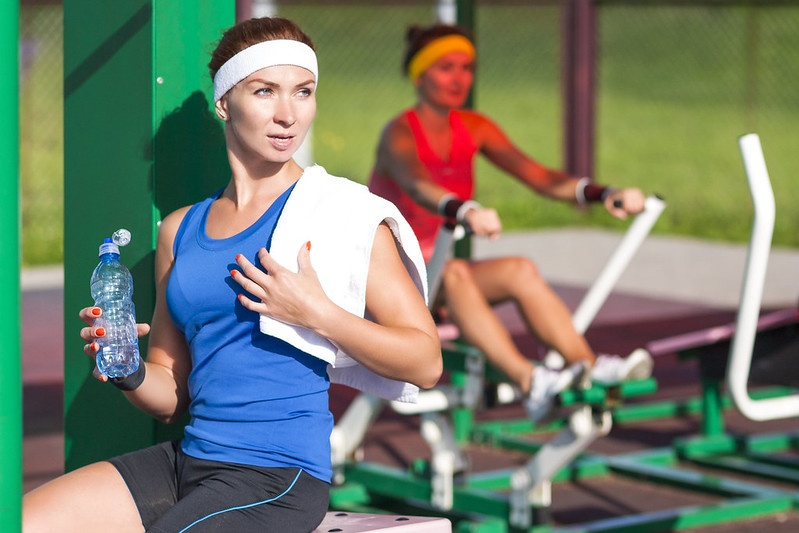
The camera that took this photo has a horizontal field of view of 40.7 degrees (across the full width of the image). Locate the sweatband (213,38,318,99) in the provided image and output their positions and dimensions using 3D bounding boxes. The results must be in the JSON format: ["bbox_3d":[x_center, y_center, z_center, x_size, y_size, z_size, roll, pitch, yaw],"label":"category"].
[{"bbox_3d":[-0.464,-0.717,3.793,0.225,0.092,0.217,-15,-6,16],"label":"sweatband"}]

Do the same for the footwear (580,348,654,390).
[{"bbox_3d":[1.035,0.494,5.039,0.260,0.120,0.162,-13,8,30],"label":"footwear"}]

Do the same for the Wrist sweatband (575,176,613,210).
[{"bbox_3d":[0.965,-0.356,5.276,0.147,0.135,0.135,26,-5,46],"label":"Wrist sweatband"}]

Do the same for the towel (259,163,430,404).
[{"bbox_3d":[-0.195,0.072,3.752,0.576,0.822,0.283,-1,11,-5],"label":"towel"}]

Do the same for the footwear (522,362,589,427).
[{"bbox_3d":[0.746,0.556,5.057,0.132,0.189,0.435,5,30,42],"label":"footwear"}]

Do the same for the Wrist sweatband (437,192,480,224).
[{"bbox_3d":[0.284,-0.270,5.114,0.189,0.123,0.296,0,11,0],"label":"Wrist sweatband"}]
